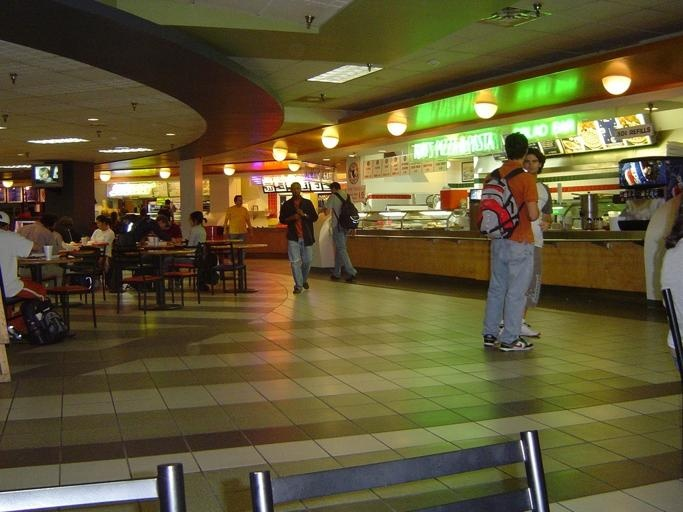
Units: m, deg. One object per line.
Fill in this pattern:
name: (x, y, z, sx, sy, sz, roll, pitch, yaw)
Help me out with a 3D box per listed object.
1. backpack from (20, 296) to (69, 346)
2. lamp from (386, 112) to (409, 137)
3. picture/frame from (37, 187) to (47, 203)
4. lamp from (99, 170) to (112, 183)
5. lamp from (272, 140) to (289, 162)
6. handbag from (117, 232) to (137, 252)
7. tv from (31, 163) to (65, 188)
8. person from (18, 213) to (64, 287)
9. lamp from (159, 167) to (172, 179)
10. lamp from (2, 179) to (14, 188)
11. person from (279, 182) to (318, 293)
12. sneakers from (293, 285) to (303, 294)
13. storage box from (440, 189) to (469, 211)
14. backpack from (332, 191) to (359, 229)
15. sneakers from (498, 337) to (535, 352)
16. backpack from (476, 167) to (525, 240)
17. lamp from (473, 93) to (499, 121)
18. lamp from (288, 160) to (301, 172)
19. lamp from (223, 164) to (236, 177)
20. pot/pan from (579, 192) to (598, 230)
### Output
backpack: (-3.459, 0.745, 5.764, 0.332, 0.465, 0.408, -14, 0, 9)
lamp: (1.199, -2.928, 11.105, 0.591, 0.496, 0.514, 0, -2, -3)
picture/frame: (-13.482, -2.724, 22.251, 0.215, 0.592, 1.833, -4, 5, -27)
lamp: (-11.710, -3.962, 24.569, 0.723, 0.413, 0.620, -2, 1, 27)
lamp: (-1.764, -3.043, 13.985, 0.359, 0.535, 0.779, -2, 4, -11)
handbag: (-4.030, -0.260, 9.289, 0.540, 0.354, 0.469, -2, 2, -10)
tv: (-9.430, -2.572, 15.882, 1.090, 0.684, 0.515, 1, -2, -11)
person: (-4.904, -0.103, 7.968, 0.708, 0.907, 0.596, 16, 3, -10)
lamp: (-8.433, -3.925, 23.493, 0.577, 0.408, 0.499, 1, 5, -2)
lamp: (-15.140, -3.288, 22.467, 0.466, 0.235, 0.443, 1, -1, -35)
person: (-0.805, -0.349, 9.355, 0.542, 2.071, 0.576, 1, 5, 29)
sneakers: (-0.834, 0.632, 9.302, 0.189, 0.134, 0.368, -1, -4, 1)
storage box: (2.903, -1.496, 13.112, 0.910, 0.694, 0.835, -1, 2, 3)
backpack: (0.071, -0.962, 10.566, 0.468, 0.808, 0.376, -2, 4, -2)
sneakers: (1.759, 0.907, 5.082, 0.380, 0.131, 0.133, -1, 2, -8)
backpack: (1.572, -0.517, 4.904, 0.348, 0.704, 0.411, 1, 5, 32)
lamp: (2.604, -2.748, 9.212, 0.530, 0.480, 0.461, 0, -1, -4)
lamp: (-1.650, -3.096, 17.114, 0.436, 0.276, 0.437, -3, 8, -24)
lamp: (-4.931, -3.646, 21.167, 0.548, 0.447, 0.474, 2, -9, 5)
pot/pan: (4.181, -0.746, 8.412, 0.359, 0.577, 0.382, -1, 4, 31)
